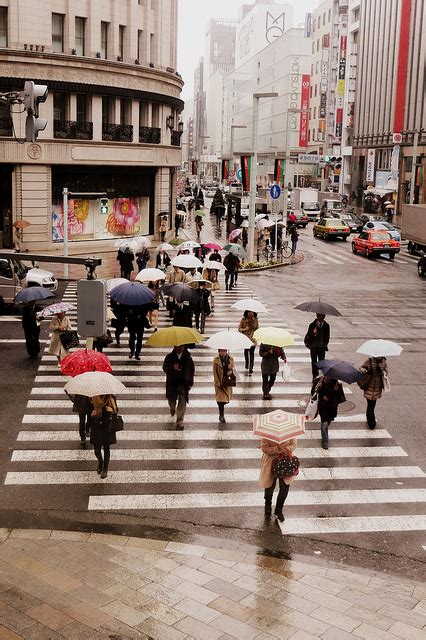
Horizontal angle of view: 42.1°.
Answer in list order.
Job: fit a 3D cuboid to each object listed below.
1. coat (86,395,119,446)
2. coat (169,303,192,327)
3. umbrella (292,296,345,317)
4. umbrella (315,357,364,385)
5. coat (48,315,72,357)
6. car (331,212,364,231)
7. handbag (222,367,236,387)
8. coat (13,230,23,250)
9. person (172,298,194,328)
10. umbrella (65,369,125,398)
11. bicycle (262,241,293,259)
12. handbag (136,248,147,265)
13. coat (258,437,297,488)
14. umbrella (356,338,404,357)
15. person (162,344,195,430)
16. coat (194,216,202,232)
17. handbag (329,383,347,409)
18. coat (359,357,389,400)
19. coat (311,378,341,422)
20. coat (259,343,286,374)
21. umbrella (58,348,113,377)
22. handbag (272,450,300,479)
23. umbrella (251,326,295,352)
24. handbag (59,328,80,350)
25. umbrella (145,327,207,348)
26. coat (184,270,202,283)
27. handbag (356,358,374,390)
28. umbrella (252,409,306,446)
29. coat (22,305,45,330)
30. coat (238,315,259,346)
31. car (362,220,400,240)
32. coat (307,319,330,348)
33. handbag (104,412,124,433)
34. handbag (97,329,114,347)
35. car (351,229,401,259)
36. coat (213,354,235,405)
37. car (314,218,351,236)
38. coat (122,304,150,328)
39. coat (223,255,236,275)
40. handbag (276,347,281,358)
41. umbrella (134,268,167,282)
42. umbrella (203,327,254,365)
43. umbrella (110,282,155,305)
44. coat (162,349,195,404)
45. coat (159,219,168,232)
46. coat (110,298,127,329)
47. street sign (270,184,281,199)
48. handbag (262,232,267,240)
[{"bbox_3d":[-1.590,1.385,8.025,0.409,1.035,0.254,1,29,-12],"label":"coat"},{"bbox_3d":[-0.862,-0.128,15.089,0.714,0.965,0.496,-1,3,-10],"label":"coat"},{"bbox_3d":[2.584,-0.266,13.261,0.901,0.375,1.387,4,8,16],"label":"umbrella"},{"bbox_3d":[2.120,0.829,9.348,0.474,0.181,0.484,-7,36,-43],"label":"umbrella"},{"bbox_3d":[-3.762,0.350,13.622,0.508,1.319,0.486,5,14,-5],"label":"coat"},{"bbox_3d":[13.528,-9.611,54.615,1.528,1.316,3.694,-2,16,-10],"label":"car"},{"bbox_3d":[0.297,1.082,10.414,0.261,0.449,0.165,2,-2,-7],"label":"handbag"},{"bbox_3d":[-11.578,-4.788,33.073,0.346,1.137,0.722,-3,9,-34],"label":"coat"},{"bbox_3d":[-0.809,-0.196,14.917,0.463,0.794,1.089,4,8,16],"label":"person"},{"bbox_3d":[-1.652,0.876,7.651,0.455,0.253,0.484,11,21,19],"label":"umbrella"},{"bbox_3d":[4.405,-4.764,37.710,1.733,1.201,1.019,-2,36,2],"label":"bicycle"},{"bbox_3d":[-3.133,-2.762,24.318,0.330,0.622,0.529,2,7,6],"label":"handbag"},{"bbox_3d":[0.820,1.689,7.018,0.424,1.130,0.300,-2,24,1],"label":"coat"},{"bbox_3d":[3.142,0.564,10.452,0.736,0.320,0.818,4,8,14],"label":"umbrella"},{"bbox_3d":[-0.643,1.242,10.258,0.528,1.663,0.429,-3,8,-29],"label":"person"},{"bbox_3d":[-1.116,-7.680,44.114,0.338,1.132,0.692,2,7,2],"label":"coat"},{"bbox_3d":[2.187,1.337,9.707,0.131,0.399,0.358,8,10,44],"label":"handbag"},{"bbox_3d":[3.166,1.082,10.815,0.466,1.042,0.298,4,14,9],"label":"coat"},{"bbox_3d":[2.008,1.353,9.711,0.531,1.212,0.332,-5,32,7],"label":"coat"},{"bbox_3d":[1.225,0.849,11.906,0.409,0.721,0.489,1,7,-2],"label":"coat"},{"bbox_3d":[-1.984,0.648,8.512,0.529,0.278,0.560,5,26,10],"label":"umbrella"},{"bbox_3d":[0.896,1.804,6.842,0.316,0.360,0.280,2,7,5],"label":"handbag"},{"bbox_3d":[1.287,0.347,11.245,0.488,0.349,0.536,6,25,0],"label":"umbrella"},{"bbox_3d":[-3.457,0.449,13.304,0.413,0.577,0.125,-32,20,-28],"label":"handbag"},{"bbox_3d":[-0.699,0.332,10.298,1.000,0.320,0.744,1,8,-5],"label":"umbrella"},{"bbox_3d":[-0.618,-1.464,18.451,0.544,0.590,0.325,-1,5,-9],"label":"coat"},{"bbox_3d":[2.959,1.036,10.854,0.421,0.657,0.340,-2,6,-19],"label":"handbag"},{"bbox_3d":[0.811,1.292,6.765,0.551,0.209,0.660,10,11,44],"label":"umbrella"},{"bbox_3d":[-4.958,-0.080,14.925,0.623,0.713,0.234,-2,2,-30],"label":"coat"},{"bbox_3d":[0.867,0.225,13.503,0.420,0.717,0.530,2,7,2],"label":"coat"},{"bbox_3d":[14.038,-7.176,46.324,1.733,1.591,3.224,-3,15,-10],"label":"car"},{"bbox_3d":[2.513,0.304,13.215,0.504,0.689,0.340,3,7,9],"label":"coat"},{"bbox_3d":[-1.425,1.506,8.170,0.161,0.324,0.339,5,8,29],"label":"handbag"},{"bbox_3d":[-2.489,0.309,12.905,0.276,0.426,0.546,-9,-16,-6],"label":"handbag"},{"bbox_3d":[11.474,-5.387,39.802,1.580,1.425,3.760,-1,16,-10],"label":"car"},{"bbox_3d":[0.237,1.102,10.546,0.343,1.075,0.269,-1,25,6],"label":"coat"},{"bbox_3d":[10.412,-8.260,49.630,1.206,0.977,2.821,-3,18,-10],"label":"car"},{"bbox_3d":[-2.130,-0.128,15.168,0.706,0.695,0.585,3,7,8],"label":"coat"},{"bbox_3d":[0.817,-2.580,25.770,0.538,0.895,0.658,4,8,15],"label":"coat"},{"bbox_3d":[1.421,0.691,11.949,0.098,0.236,0.264,2,8,5],"label":"handbag"},{"bbox_3d":[-1.835,-1.337,16.493,0.730,0.318,0.655,-3,9,-31],"label":"umbrella"},{"bbox_3d":[0.286,0.542,10.302,0.766,0.610,0.740,5,8,25],"label":"umbrella"},{"bbox_3d":[-2.067,-0.665,14.288,1.060,0.506,0.884,0,8,-11],"label":"umbrella"},{"bbox_3d":[-0.640,1.030,10.309,0.550,1.047,0.427,1,7,-6],"label":"coat"},{"bbox_3d":[-3.625,-6.945,40.914,0.396,0.882,0.929,0,8,-10],"label":"coat"},{"bbox_3d":[-2.591,-0.206,15.384,0.286,0.322,0.800,-21,-25,-9],"label":"coat"},{"bbox_3d":[4.028,-8.224,35.472,0.537,0.948,1.424,2,8,6],"label":"street sign"},{"bbox_3d":[3.601,-5.727,38.039,0.209,0.468,0.646,2,8,2],"label":"handbag"}]
